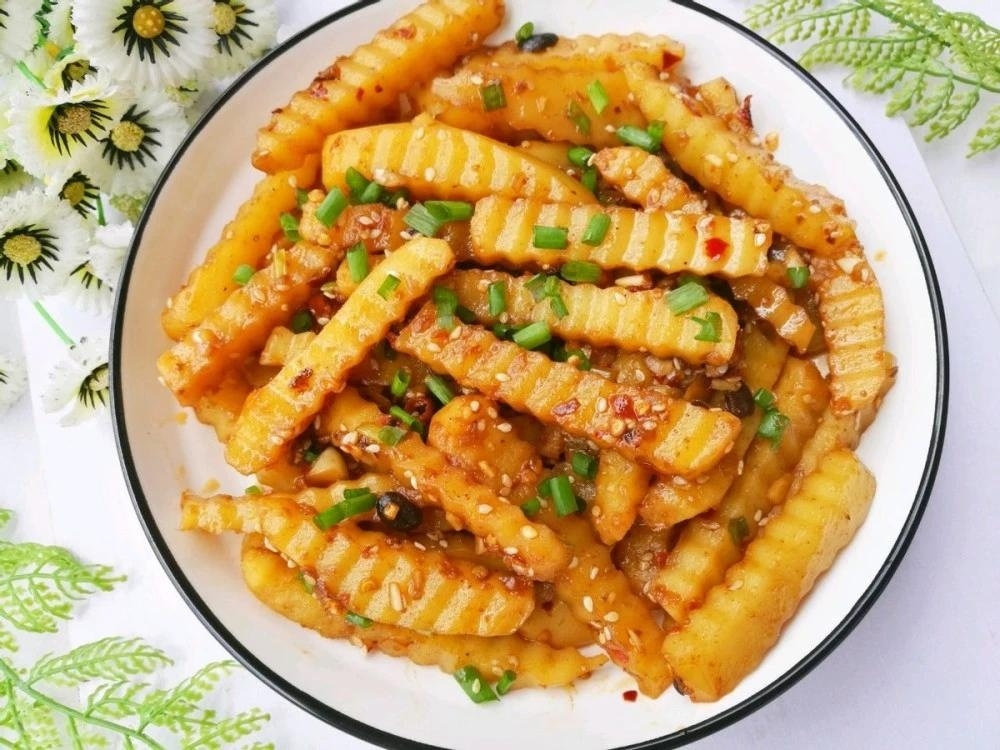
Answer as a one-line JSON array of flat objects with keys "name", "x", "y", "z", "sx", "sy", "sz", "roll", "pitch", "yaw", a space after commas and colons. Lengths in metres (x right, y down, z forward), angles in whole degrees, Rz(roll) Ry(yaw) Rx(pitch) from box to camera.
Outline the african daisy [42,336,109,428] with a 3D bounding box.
[{"name": "african daisy", "x": -2.042, "y": 0.029, "z": 5.173, "sx": 0.397, "sy": 0.162, "sz": 0.434, "roll": -6, "pitch": 82, "yaw": -5}]
